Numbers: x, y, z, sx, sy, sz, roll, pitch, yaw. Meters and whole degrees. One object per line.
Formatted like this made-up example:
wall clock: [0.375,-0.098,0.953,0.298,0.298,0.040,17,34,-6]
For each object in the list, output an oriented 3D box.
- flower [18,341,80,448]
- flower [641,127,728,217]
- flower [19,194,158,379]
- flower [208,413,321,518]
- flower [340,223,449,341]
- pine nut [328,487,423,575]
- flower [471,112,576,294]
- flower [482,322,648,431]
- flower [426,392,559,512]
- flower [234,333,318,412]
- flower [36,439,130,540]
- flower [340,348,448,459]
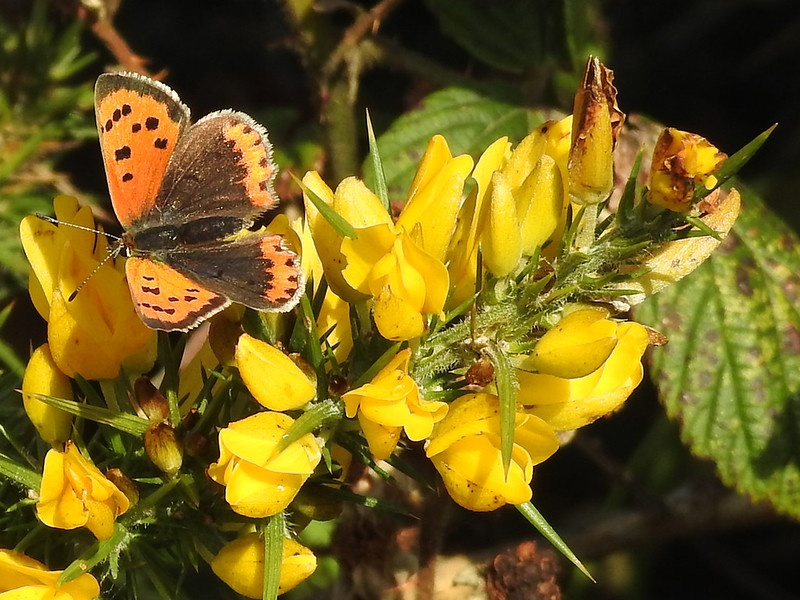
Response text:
flower: [-0.667,0.174,1.721,0.099,0.060,0.183,2,95,-32]
flower: [0.488,-0.219,1.569,0.121,0.088,0.119,23,57,9]
flower: [-0.604,-0.008,1.747,0.277,0.138,0.339,-1,86,0]
flower: [-0.234,0.284,1.610,0.181,0.115,0.173,7,90,8]
flower: [-0.015,-0.047,1.585,0.121,0.131,0.199,-34,66,-25]
pine nut: [-0.083,0.626,2.319,0.213,0.314,0.160,17,56,5]
flower: [0.219,-0.184,1.680,0.168,0.119,0.304,24,90,14]
flower: [0.302,0.110,1.661,0.213,0.193,0.089,-37,47,-2]
flower: [0.155,0.262,1.603,0.203,0.183,0.157,29,58,12]
flower: [-0.228,0.133,1.627,0.110,0.145,0.051,-46,29,-15]
flower: [-0.571,0.352,1.604,0.153,0.124,0.119,35,59,16]
flower: [-0.007,0.195,1.594,0.147,0.152,0.146,-32,65,-25]
